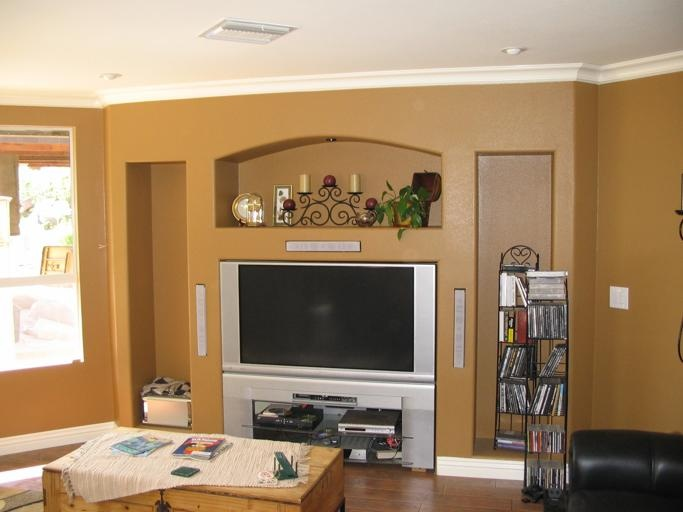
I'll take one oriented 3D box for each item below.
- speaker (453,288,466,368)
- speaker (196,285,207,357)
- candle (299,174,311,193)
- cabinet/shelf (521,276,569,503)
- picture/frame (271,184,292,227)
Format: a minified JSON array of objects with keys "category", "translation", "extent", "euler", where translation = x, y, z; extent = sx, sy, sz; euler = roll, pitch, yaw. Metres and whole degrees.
[{"category":"speaker","translation":[0.937,0.585,4.673],"extent":[0.097,0.501,0.068],"euler":[0,0,10]},{"category":"speaker","translation":[-1.253,0.564,5.099],"extent":[0.119,0.611,0.055],"euler":[0,0,20]},{"category":"candle","translation":[-0.337,-0.636,5.177],"extent":[0.103,0.153,0.233],"euler":[0,-1,-4]},{"category":"cabinet/shelf","translation":[1.580,0.970,4.509],"extent":[0.330,1.244,0.565],"euler":[0,0,20]},{"category":"picture/frame","translation":[-0.541,-0.457,5.186],"extent":[0.156,0.324,0.156],"euler":[0,0,1]}]
